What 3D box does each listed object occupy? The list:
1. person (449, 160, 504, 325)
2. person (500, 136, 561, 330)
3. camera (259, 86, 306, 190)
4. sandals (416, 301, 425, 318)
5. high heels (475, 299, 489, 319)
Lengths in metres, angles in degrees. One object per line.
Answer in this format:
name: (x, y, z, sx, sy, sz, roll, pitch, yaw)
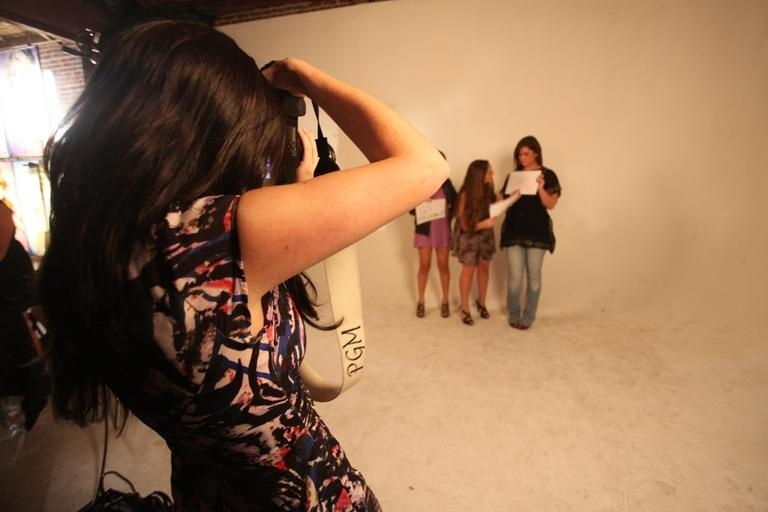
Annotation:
person: (0.752, -0.118, 4.715, 0.366, 1.356, 0.263, 0, 12, 9)
person: (1.180, -0.180, 4.588, 0.464, 1.551, 0.239, 1, 13, 14)
camera: (-0.503, -0.582, 2.643, 0.209, 0.337, 0.215, 2, 6, -8)
sandals: (0.306, 0.455, 4.800, 0.055, 0.091, 0.134, 0, 35, 1)
high heels: (0.848, 0.459, 4.823, 0.057, 0.166, 0.044, -17, -26, -2)
